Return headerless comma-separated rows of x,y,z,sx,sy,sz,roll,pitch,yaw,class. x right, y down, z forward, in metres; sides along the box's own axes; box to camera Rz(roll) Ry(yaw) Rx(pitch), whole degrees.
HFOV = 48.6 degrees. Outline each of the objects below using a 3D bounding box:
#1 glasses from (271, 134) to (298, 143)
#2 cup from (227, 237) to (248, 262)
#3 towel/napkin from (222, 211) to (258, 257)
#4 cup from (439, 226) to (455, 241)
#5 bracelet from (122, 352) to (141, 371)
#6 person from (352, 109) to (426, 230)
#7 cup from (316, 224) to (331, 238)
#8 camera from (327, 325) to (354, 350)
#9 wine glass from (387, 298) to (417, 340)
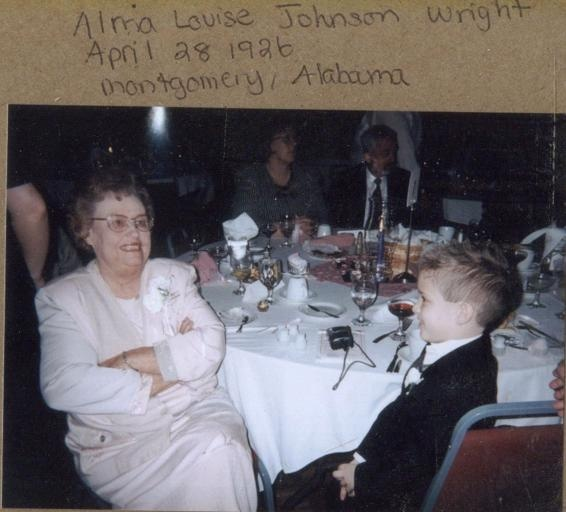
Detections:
0.006,-0.653,3.470,0.130,0.042,0.128,-10,28,-32,glasses
-0.204,-0.030,2.920,0.092,0.103,0.094,1,24,0,cup
-0.208,-0.084,2.989,0.148,0.060,0.219,15,35,-14,towel/napkin
0.803,-0.112,3.079,0.083,0.091,0.084,-2,14,1,cup
-0.535,0.371,2.220,0.055,0.013,0.059,46,-5,20,bracelet
0.624,-0.508,3.691,0.504,0.850,0.491,-4,12,-4,person
0.240,-0.144,3.617,0.073,0.070,0.072,-1,19,0,cup
0.206,0.274,2.163,0.078,0.067,0.075,-1,19,1,camera
0.434,0.231,2.298,0.117,0.149,0.117,-1,9,3,wine glass
